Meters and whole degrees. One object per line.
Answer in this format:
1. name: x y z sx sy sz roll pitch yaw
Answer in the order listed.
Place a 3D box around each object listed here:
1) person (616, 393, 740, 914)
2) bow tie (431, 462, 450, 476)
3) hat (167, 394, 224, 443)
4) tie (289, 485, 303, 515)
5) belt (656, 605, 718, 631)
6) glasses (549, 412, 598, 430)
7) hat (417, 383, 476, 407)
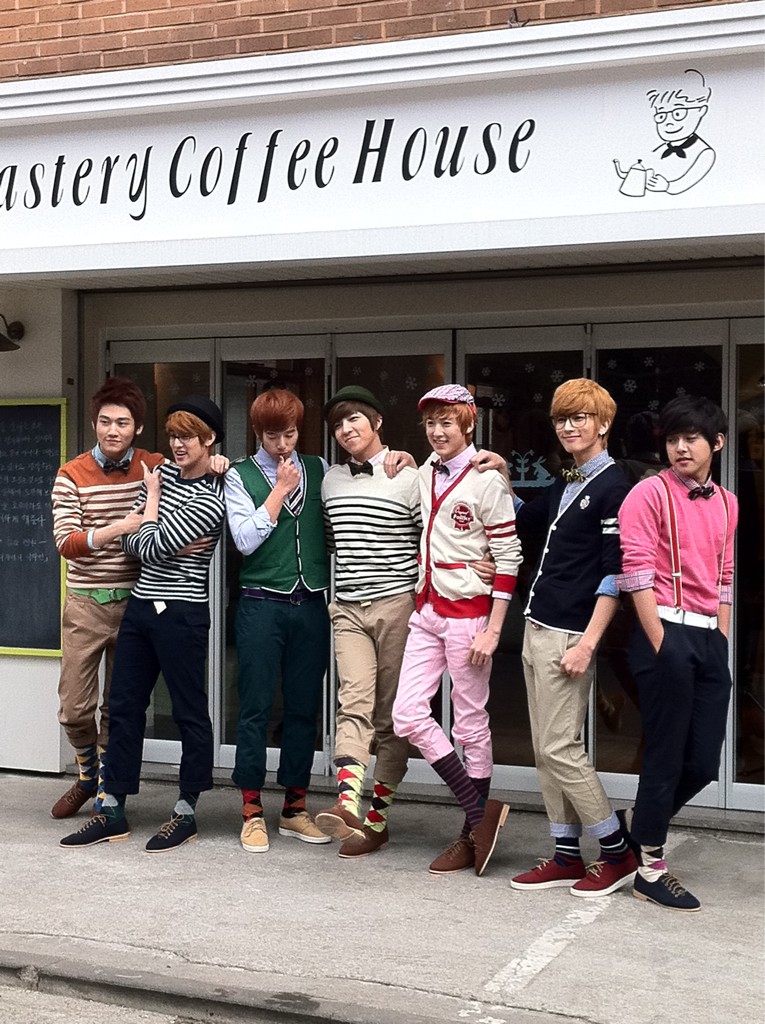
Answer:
1. person: 1.053 0.384 3.882 0.460 1.563 0.311 -1 -4 -2
2. bow tie: 0.234 -0.176 4.371 0.052 0.048 0.018 -15 -8 32
3. hat: -0.786 -0.401 4.719 0.240 0.178 0.201 0 -3 -18
4. tie: -0.365 -0.060 4.678 0.084 0.128 0.021 2 -4 -38
5. belt: 1.057 0.356 3.822 0.140 0.039 0.098 11 -7 -6
6. glasses: 0.721 -0.326 4.076 0.182 0.079 0.105 -1 -3 13
7. hat: 0.244 -0.460 4.332 0.192 0.100 0.176 2 -4 -43
